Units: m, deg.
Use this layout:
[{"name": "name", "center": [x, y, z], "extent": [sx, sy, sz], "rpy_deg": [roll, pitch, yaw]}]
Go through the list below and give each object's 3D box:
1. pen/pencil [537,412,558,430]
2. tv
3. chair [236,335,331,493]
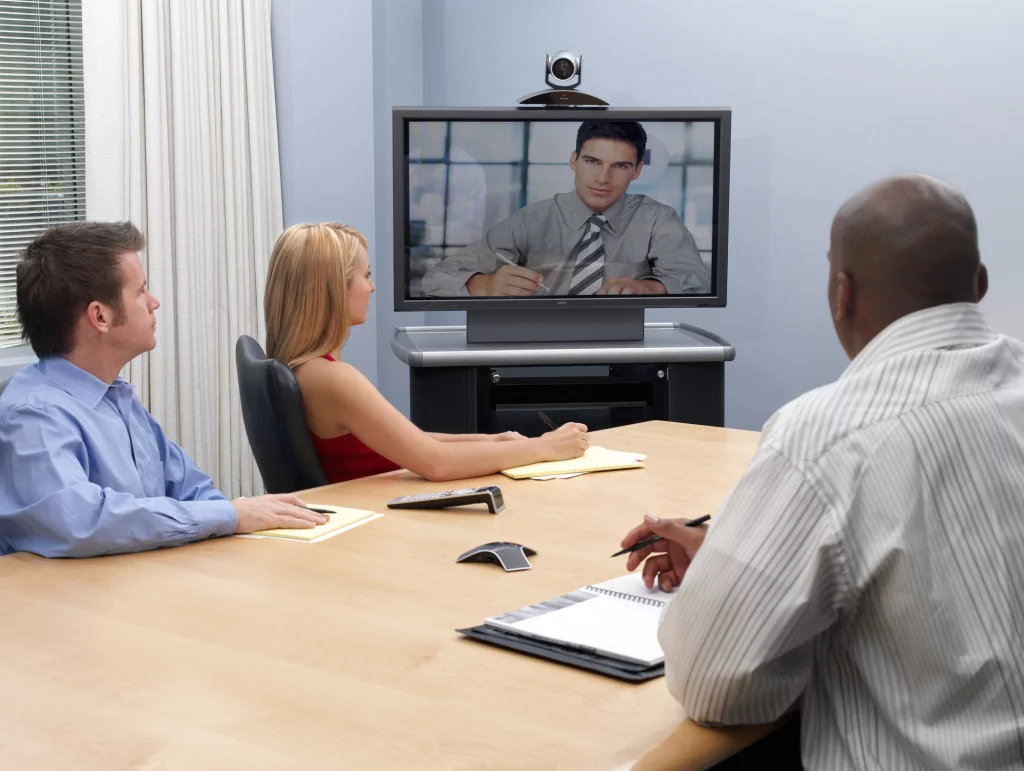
[{"name": "pen/pencil", "center": [0.157, 0.147, 3.677], "extent": [0.128, 0.022, 0.014], "rpy_deg": [52, 1, 27]}, {"name": "tv", "center": [0.231, -0.814, 4.017], "extent": [1.162, 0.839, 0.112], "rpy_deg": [0, 5, -2]}, {"name": "chair", "center": [-0.646, 0.077, 2.381], "extent": [0.366, 0.453, 0.314], "rpy_deg": [-4, 8, -30]}]
